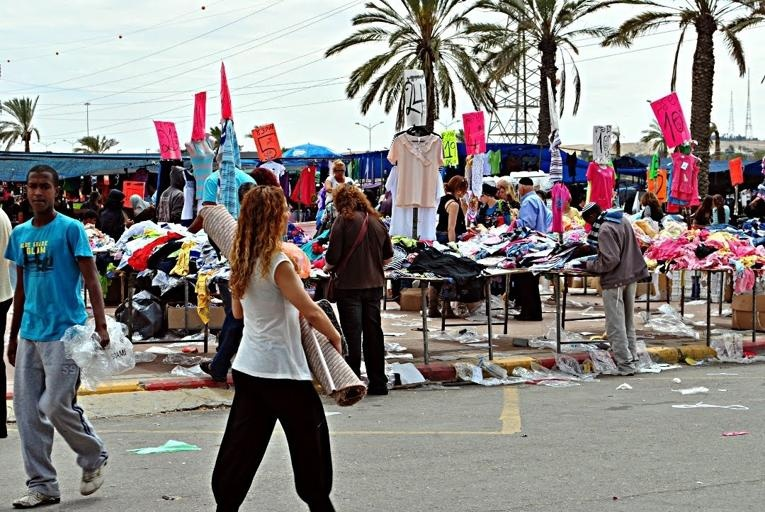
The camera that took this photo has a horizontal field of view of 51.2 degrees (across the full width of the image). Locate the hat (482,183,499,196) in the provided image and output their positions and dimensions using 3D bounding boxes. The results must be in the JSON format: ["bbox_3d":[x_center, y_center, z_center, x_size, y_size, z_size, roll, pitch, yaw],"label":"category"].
[{"bbox_3d":[2.187,-1.362,16.382,0.235,0.169,0.332,1,-7,42],"label":"hat"}]

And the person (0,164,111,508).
[{"bbox_3d":[-2.715,0.606,6.609,0.761,2.945,0.617,-2,1,-25],"label":"person"}]

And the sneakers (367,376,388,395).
[{"bbox_3d":[-0.062,1.697,10.406,0.269,0.249,0.172,0,1,11],"label":"sneakers"}]

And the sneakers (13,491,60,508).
[{"bbox_3d":[-2.751,1.920,6.341,0.353,0.144,0.124,7,-8,-30],"label":"sneakers"}]

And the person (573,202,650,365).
[{"bbox_3d":[3.454,0.528,11.624,0.749,2.077,0.381,-2,1,-28],"label":"person"}]

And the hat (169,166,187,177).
[{"bbox_3d":[-4.290,-1.775,16.639,0.297,0.380,0.332,0,7,-3],"label":"hat"}]

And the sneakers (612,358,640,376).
[{"bbox_3d":[3.577,1.644,11.801,0.422,0.284,0.151,5,2,21],"label":"sneakers"}]

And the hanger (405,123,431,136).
[{"bbox_3d":[0.654,-2.305,14.648,0.339,0.121,0.240,-9,15,-29],"label":"hanger"}]
